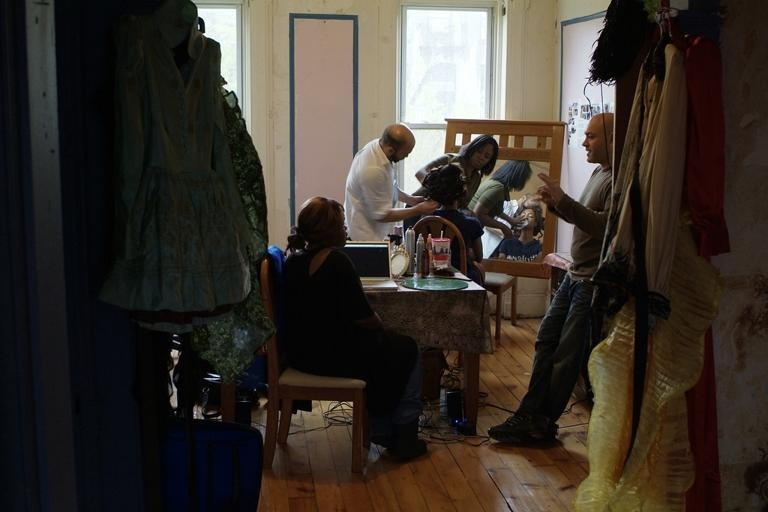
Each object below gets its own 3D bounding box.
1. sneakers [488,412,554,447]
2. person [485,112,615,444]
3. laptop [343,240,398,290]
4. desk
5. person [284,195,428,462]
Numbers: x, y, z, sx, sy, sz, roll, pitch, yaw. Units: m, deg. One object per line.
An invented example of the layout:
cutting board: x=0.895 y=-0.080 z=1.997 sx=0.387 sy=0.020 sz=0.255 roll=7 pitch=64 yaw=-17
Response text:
sneakers: x=0.860 y=1.077 z=4.277 sx=0.424 sy=0.249 sz=0.178 roll=6 pitch=-3 yaw=-3
person: x=1.058 y=0.179 z=4.021 sx=0.674 sy=2.039 sz=0.635 roll=-1 pitch=11 yaw=-8
laptop: x=-0.104 y=0.054 z=4.321 sx=0.295 sy=0.266 sz=0.270 roll=0 pitch=0 yaw=-6
desk: x=0.295 y=0.574 z=4.542 sx=0.796 sy=0.810 sz=0.887 roll=0 pitch=7 yaw=3
person: x=-0.172 y=0.440 z=3.914 sx=0.826 sy=1.562 sz=0.324 roll=-2 pitch=11 yaw=-12
